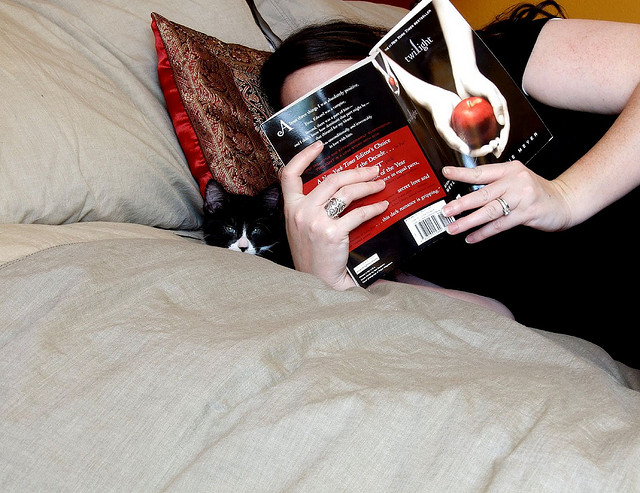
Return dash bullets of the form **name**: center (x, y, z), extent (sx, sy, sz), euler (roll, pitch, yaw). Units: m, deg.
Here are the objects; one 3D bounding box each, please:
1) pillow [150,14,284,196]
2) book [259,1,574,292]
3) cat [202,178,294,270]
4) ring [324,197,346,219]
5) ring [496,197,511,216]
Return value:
- **pillow**: center (-0.287, -0.299, 1.279), extent (0.114, 0.383, 0.369), euler (-19, 97, 8)
- **book**: center (0.162, -0.140, 1.074), extent (0.580, 0.132, 0.488), euler (-33, 94, -7)
- **cat**: center (-0.245, -0.057, 1.408), extent (0.204, 0.342, 0.247), euler (1, 99, -26)
- **ring**: center (0.025, -0.072, 0.903), extent (0.033, 0.035, 0.027), euler (-24, 55, -7)
- **ring**: center (0.314, -0.069, 0.889), extent (0.011, 0.022, 0.029), euler (-29, 85, 19)
